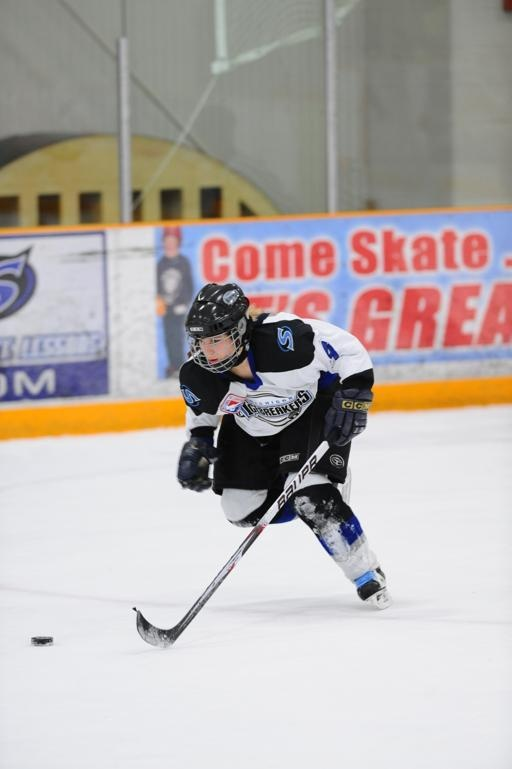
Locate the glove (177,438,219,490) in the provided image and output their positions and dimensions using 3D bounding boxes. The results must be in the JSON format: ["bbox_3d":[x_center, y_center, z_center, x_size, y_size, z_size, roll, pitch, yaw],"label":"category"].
[{"bbox_3d":[-0.151,0.212,2.217,0.090,0.135,0.053,7,-10,-34],"label":"glove"}]

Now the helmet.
[{"bbox_3d":[-0.090,-0.154,2.134,0.164,0.192,0.200,2,32,27],"label":"helmet"}]
